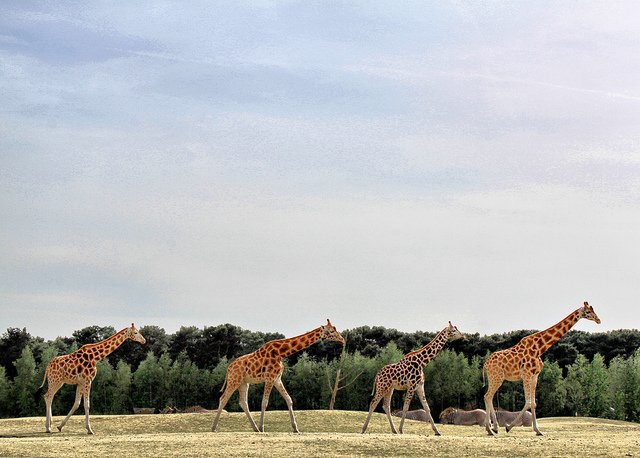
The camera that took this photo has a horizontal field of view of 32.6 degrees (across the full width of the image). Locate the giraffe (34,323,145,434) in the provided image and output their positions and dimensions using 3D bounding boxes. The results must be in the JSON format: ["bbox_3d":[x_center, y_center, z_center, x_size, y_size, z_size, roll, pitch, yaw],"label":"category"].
[{"bbox_3d":[-16.900,11.001,78.707,5.296,7.612,2.035,5,-16,-12],"label":"giraffe"}]

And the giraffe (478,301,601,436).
[{"bbox_3d":[15.303,10.485,78.987,6.609,8.970,2.403,-1,-15,8],"label":"giraffe"}]

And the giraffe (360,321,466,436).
[{"bbox_3d":[6.580,11.051,79.544,6.226,8.000,2.658,-4,-16,19],"label":"giraffe"}]
